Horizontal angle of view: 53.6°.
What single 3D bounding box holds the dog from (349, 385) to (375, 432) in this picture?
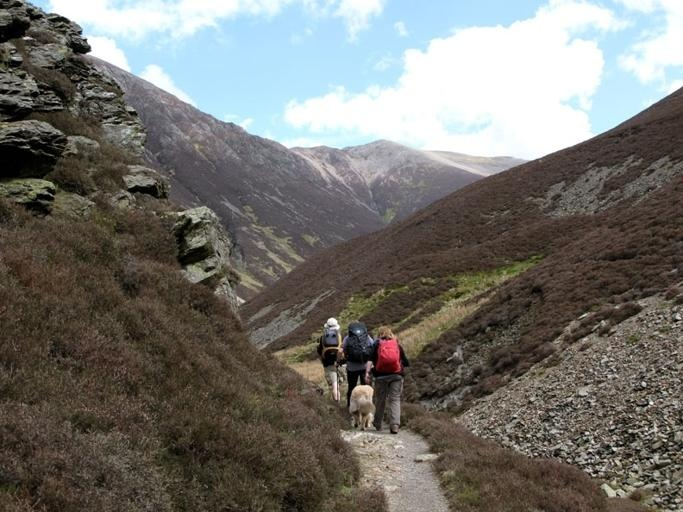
[{"bbox_3d":[0.746,5.291,24.928,0.828,1.462,2.900,5,4,-4],"label":"dog"}]
